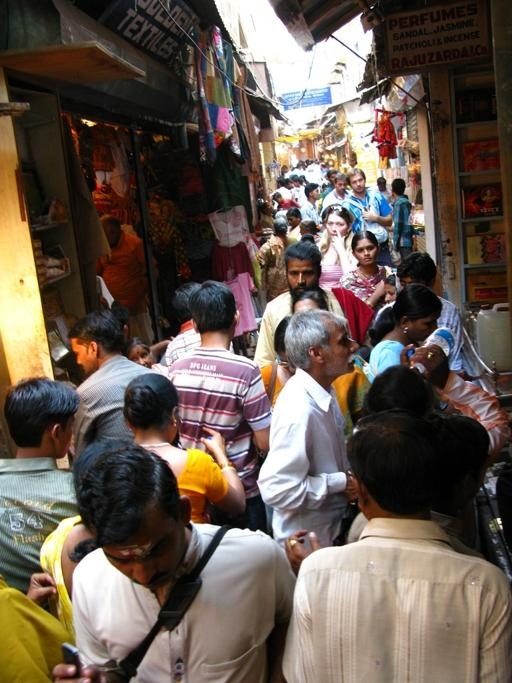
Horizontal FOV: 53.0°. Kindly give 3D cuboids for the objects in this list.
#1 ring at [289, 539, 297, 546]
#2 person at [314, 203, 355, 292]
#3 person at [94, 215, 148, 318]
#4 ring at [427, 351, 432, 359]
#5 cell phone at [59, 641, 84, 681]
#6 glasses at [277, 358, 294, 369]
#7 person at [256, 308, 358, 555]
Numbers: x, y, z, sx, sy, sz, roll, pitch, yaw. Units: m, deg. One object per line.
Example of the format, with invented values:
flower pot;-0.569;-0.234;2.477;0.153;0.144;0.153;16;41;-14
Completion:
ring;0.126;0.665;1.703;0.023;0.022;0.006;12;0;43
person;0.920;-1.351;6.027;0.353;0.346;1.060;1;42;8
person;-1.380;-0.794;5.423;0.548;1.040;0.358;-17;13;-35
ring;0.866;0.070;2.550;0.028;0.025;0.027;0;-1;0
cell phone;-0.356;0.605;0.989;0.029;0.057;0.068;-15;13;-29
glasses;0.169;0.121;2.792;0.051;0.053;0.036;8;16;-11
person;0.218;0.392;2.108;0.384;1.243;0.545;2;49;7
